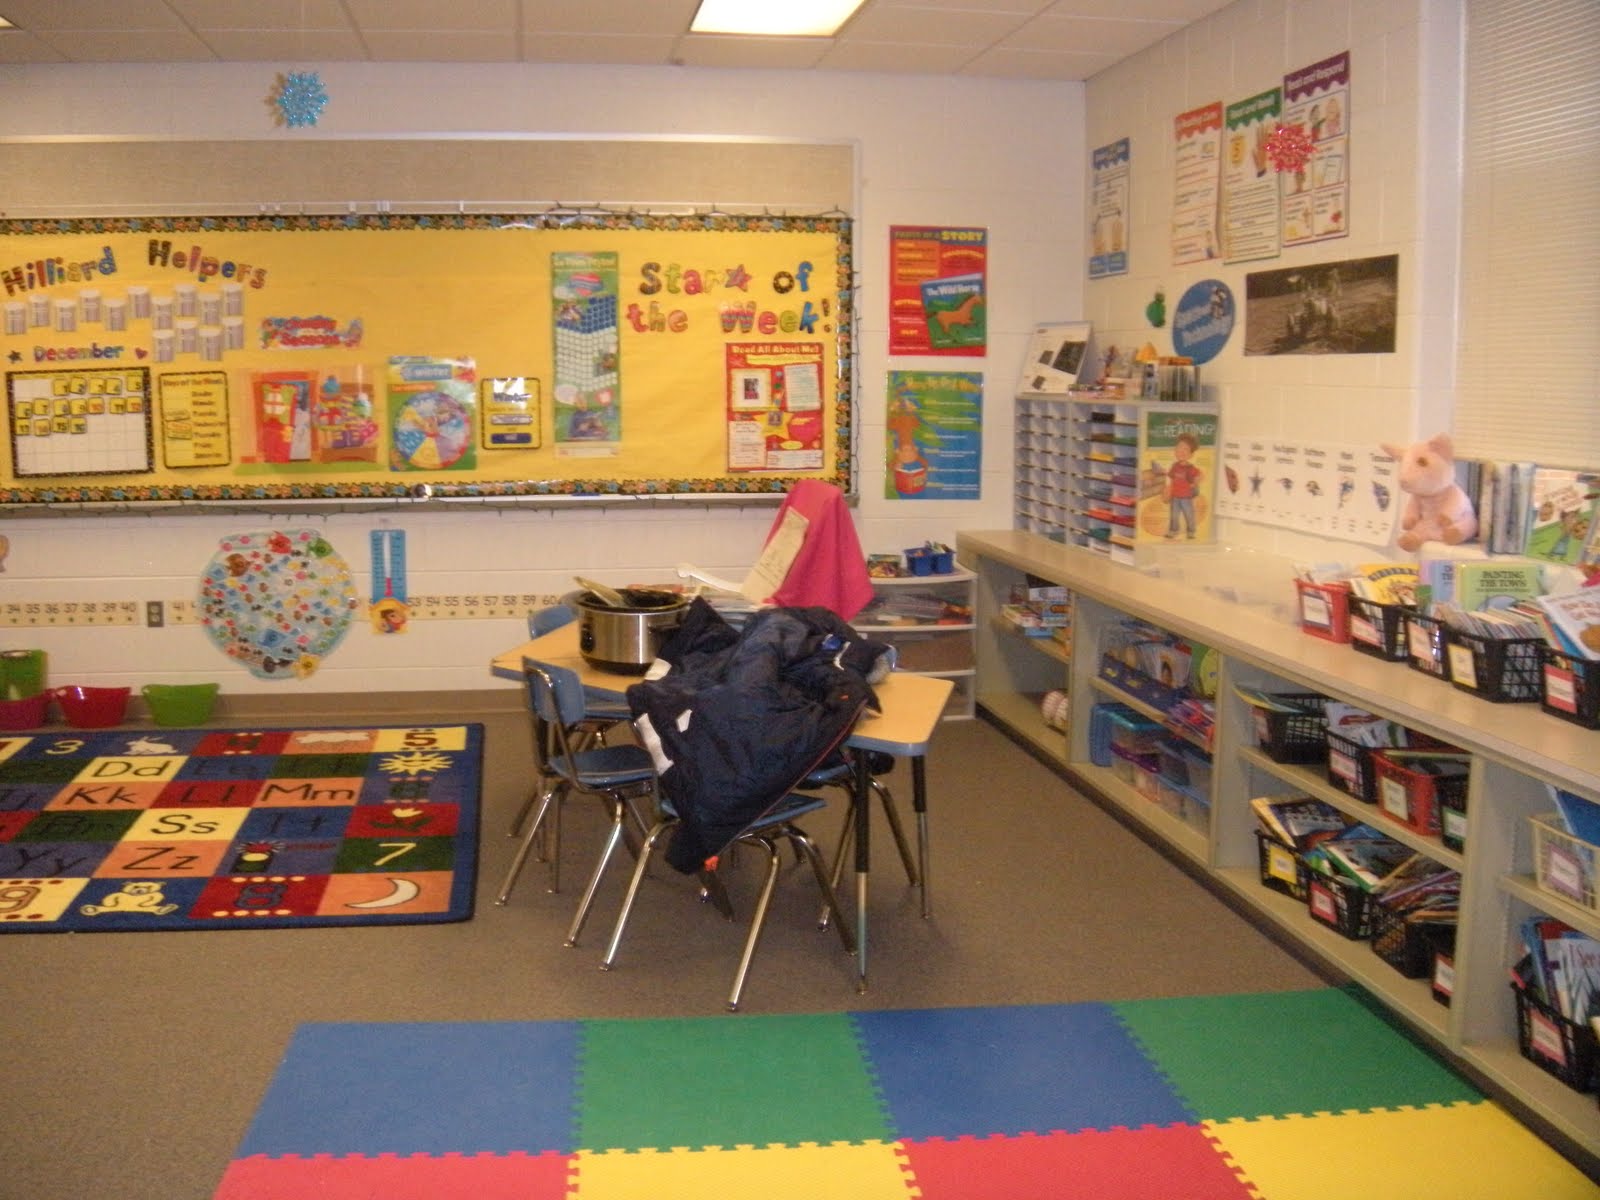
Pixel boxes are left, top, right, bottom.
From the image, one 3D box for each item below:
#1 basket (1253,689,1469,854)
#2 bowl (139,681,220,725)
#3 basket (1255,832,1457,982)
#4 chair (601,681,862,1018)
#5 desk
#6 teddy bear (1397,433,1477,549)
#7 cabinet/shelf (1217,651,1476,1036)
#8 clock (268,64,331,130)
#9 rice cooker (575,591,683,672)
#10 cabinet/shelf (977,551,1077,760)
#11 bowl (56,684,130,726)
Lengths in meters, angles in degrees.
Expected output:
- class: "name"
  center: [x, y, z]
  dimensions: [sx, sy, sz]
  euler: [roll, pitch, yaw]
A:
- class: "basket"
  center: [1.793, 0.556, 3.807]
  dimensions: [0.348, 0.139, 0.482]
  euler: [-4, 16, -26]
- class: "bowl"
  center: [-3.161, 0.525, 6.146]
  dimensions: [0.263, 0.132, 0.305]
  euler: [0, -4, -10]
- class: "basket"
  center: [1.820, 0.961, 3.798]
  dimensions: [0.290, 0.117, 0.397]
  euler: [-5, 16, -21]
- class: "chair"
  center: [-0.234, 0.857, 4.262]
  dimensions: [0.867, 0.965, 0.691]
  euler: [-5, 12, -25]
- class: "desk"
  center: [-0.269, 0.799, 4.161]
  dimensions: [0.874, 1.012, 0.903]
  euler: [5, -23, -16]
- class: "teddy bear"
  center: [2.195, -0.369, 4.155]
  dimensions: [0.334, 0.358, 0.315]
  euler: [0, 8, 38]
- class: "cabinet/shelf"
  center: [1.735, 0.772, 3.771]
  dimensions: [0.460, 0.676, 1.144]
  euler: [-4, 12, -18]
- class: "clock"
  center: [-2.478, -2.463, 5.908]
  dimensions: [0.337, 0.260, 0.101]
  euler: [1, -1, 1]
- class: "rice cooker"
  center: [-0.599, 0.144, 4.345]
  dimensions: [0.391, 0.180, 0.290]
  euler: [1, 1, 8]
- class: "cabinet/shelf"
  center: [1.126, 0.268, 6.046]
  dimensions: [0.420, 0.816, 0.988]
  euler: [-2, 11, -13]
- class: "bowl"
  center: [-3.582, 0.529, 6.102]
  dimensions: [0.257, 0.130, 0.289]
  euler: [0, -3, -8]
